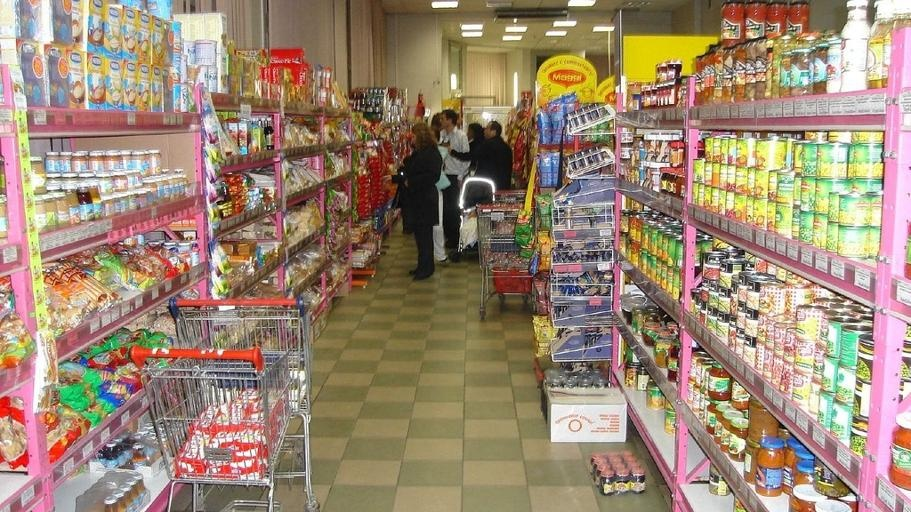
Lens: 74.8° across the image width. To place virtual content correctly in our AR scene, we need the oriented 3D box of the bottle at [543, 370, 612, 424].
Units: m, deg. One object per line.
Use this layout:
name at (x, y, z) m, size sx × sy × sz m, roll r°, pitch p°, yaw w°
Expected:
bottle at (1.026, 1.222, 5.158) m, size 0.422 × 0.278 × 0.412 m, roll 1°, pitch 2°, yaw 0°
